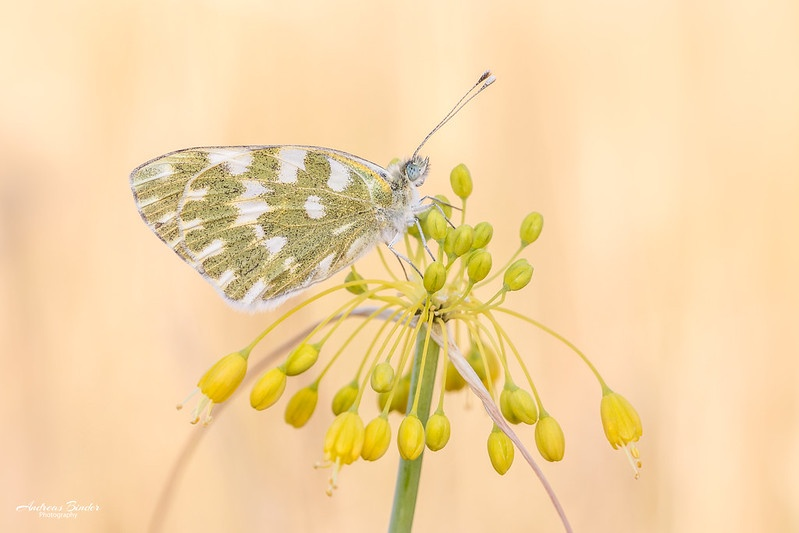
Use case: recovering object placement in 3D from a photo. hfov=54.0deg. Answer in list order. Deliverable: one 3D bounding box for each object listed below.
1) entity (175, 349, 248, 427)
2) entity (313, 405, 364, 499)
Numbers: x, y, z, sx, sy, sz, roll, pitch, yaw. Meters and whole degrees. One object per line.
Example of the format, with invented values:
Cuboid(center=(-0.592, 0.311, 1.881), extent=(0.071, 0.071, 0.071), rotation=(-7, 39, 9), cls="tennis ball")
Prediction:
Cuboid(center=(-0.943, 0.601, 3.939), extent=(0.389, 0.302, 0.185), rotation=(-39, -60, 22), cls="entity")
Cuboid(center=(-0.276, 0.858, 3.800), extent=(0.157, 0.142, 0.483), rotation=(20, -98, -10), cls="entity")
